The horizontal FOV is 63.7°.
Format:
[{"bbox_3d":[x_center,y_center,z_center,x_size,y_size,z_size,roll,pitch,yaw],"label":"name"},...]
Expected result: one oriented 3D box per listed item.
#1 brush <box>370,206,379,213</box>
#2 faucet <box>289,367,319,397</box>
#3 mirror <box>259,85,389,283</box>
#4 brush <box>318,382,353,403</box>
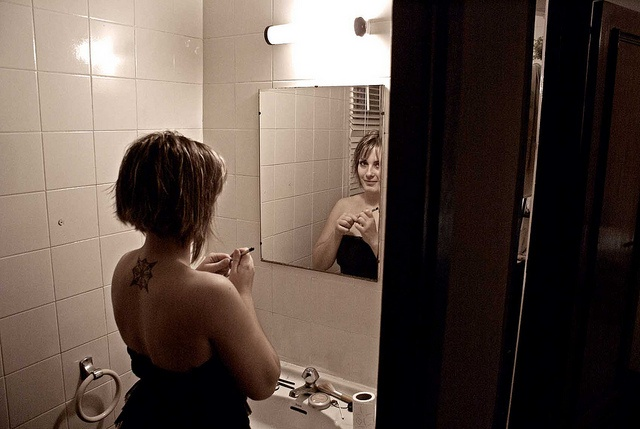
[{"bbox_3d":[0.192,-0.019,1.774,0.008,0.022,0.033,0,6,-34],"label":"brush"},{"bbox_3d":[-0.042,0.607,1.885,0.065,0.090,0.125,-2,-8,37],"label":"faucet"},{"bbox_3d":[0.026,-0.128,1.807,0.651,0.897,0.042,5,12,27],"label":"mirror"},{"bbox_3d":[0.046,0.630,1.842,0.153,0.037,0.046,16,36,34],"label":"brush"}]
